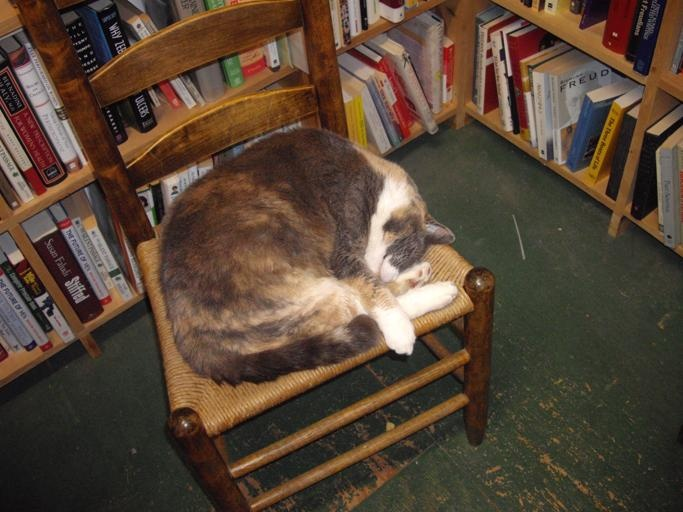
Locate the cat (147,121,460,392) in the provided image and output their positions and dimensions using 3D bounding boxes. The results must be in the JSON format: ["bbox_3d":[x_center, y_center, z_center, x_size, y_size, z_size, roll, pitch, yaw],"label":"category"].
[{"bbox_3d":[-0.103,0.029,1.203,0.570,0.238,0.604,-12,70,-25],"label":"cat"}]
